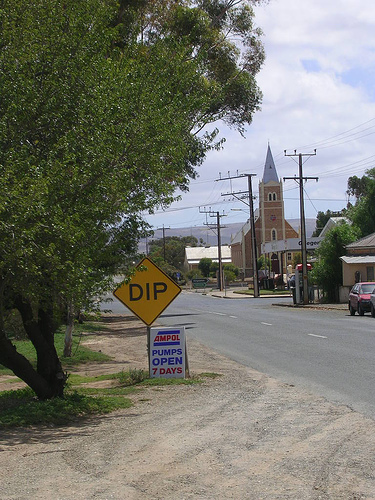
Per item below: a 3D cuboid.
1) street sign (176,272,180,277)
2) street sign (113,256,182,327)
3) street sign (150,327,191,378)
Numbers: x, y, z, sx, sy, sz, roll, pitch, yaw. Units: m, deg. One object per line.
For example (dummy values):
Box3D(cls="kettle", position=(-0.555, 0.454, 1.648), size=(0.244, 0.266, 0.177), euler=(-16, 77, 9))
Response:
Box3D(cls="street sign", position=(-1.810, 4.768, 112.960), size=(0.653, 0.766, 0.844), euler=(-1, 1, -4))
Box3D(cls="street sign", position=(-0.747, 0.814, 11.134), size=(1.044, 1.278, 1.388), euler=(-4, -2, -12))
Box3D(cls="street sign", position=(-0.331, 1.889, 11.373), size=(0.948, 1.129, 0.866), euler=(-2, 2, -1))
